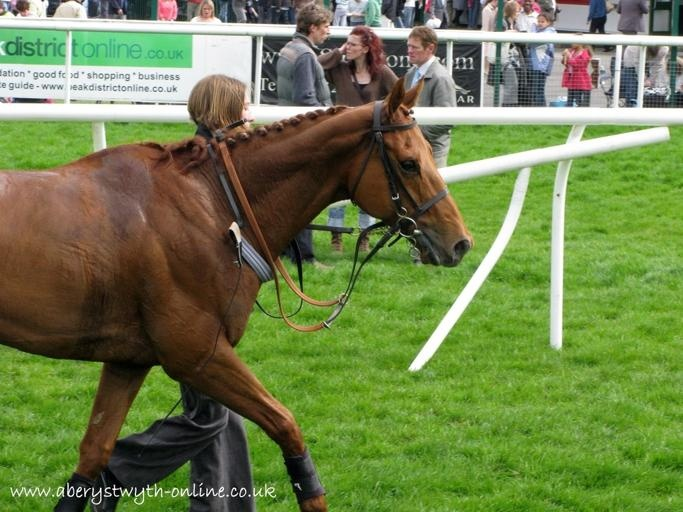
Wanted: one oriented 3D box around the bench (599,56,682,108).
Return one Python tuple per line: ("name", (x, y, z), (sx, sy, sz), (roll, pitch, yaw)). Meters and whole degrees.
("bench", (3.006, -1.765, 12.588), (0.509, 0.661, 0.209), (-2, -6, -6))
